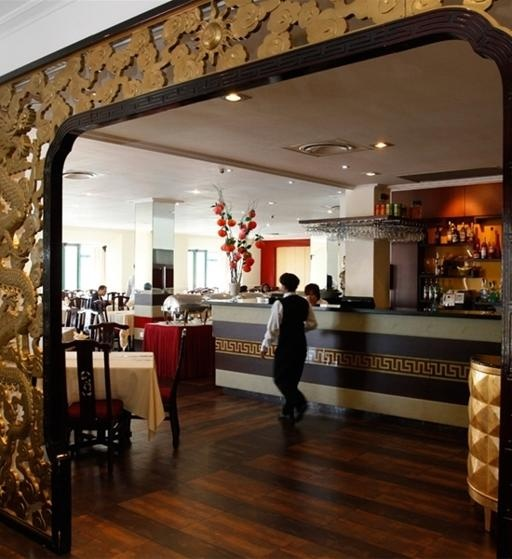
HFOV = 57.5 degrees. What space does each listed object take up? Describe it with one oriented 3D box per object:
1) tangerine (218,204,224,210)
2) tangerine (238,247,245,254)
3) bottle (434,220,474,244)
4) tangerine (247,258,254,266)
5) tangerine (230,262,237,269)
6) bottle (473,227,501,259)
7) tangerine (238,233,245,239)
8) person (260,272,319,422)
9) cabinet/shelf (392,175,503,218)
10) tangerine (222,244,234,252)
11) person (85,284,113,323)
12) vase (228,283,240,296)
[{"bbox_3d":[-0.533,-1.100,7.072,0.073,0.091,0.046,1,-13,-7],"label":"tangerine"},{"bbox_3d":[-0.236,-0.452,7.279,0.090,0.067,0.096,3,10,0],"label":"tangerine"},{"bbox_3d":[3.156,-0.757,7.423,0.097,0.240,0.416,1,1,-42],"label":"bottle"},{"bbox_3d":[-0.108,-0.307,7.988,0.126,0.125,0.144,17,2,-4],"label":"tangerine"},{"bbox_3d":[-0.364,-0.223,7.249,0.088,0.107,0.059,-1,17,1],"label":"tangerine"},{"bbox_3d":[3.498,-0.576,7.124,0.398,0.561,0.333,-1,-2,23],"label":"bottle"},{"bbox_3d":[-0.226,-0.684,7.235,0.111,0.096,0.106,1,2,-10],"label":"tangerine"},{"bbox_3d":[0.344,0.693,4.812,0.541,1.514,0.548,0,-2,8],"label":"person"},{"bbox_3d":[2.950,-1.248,7.256,1.523,0.576,0.292,-1,-3,31],"label":"cabinet/shelf"},{"bbox_3d":[-0.441,-0.485,7.179,0.138,0.056,0.132,1,-2,-22],"label":"tangerine"},{"bbox_3d":[-3.491,0.692,10.301,0.418,1.173,0.391,11,17,8],"label":"person"},{"bbox_3d":[-0.386,0.185,8.080,0.154,0.235,0.334,0,-2,-3],"label":"vase"}]
